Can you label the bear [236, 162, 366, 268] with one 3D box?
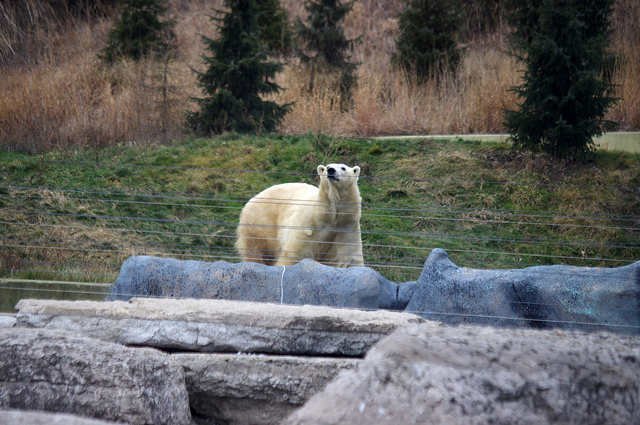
[{"bbox_3d":[-0.261,0.054,21.620,2.056,1.750,0.979,1,8,3],"label":"bear"}]
